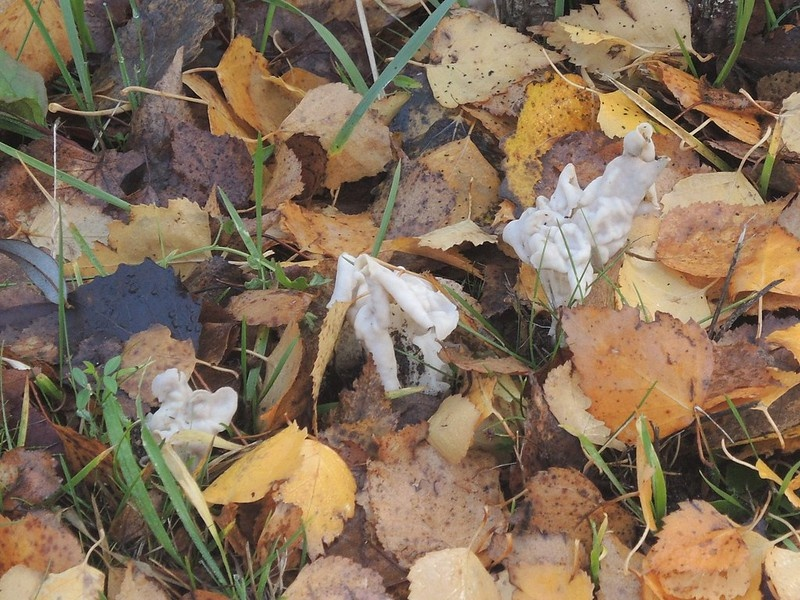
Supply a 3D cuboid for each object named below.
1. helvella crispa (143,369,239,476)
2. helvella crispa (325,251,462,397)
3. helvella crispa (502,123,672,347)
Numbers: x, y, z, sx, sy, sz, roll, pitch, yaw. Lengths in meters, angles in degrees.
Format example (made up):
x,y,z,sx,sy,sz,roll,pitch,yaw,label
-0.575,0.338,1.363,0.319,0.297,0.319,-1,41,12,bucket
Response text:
x,y,z,sx,sy,sz,roll,pitch,yaw,label
-0.479,0.269,1.945,0.189,0.176,0.183,6,55,15,helvella crispa
-0.009,0.035,2.064,0.250,0.330,0.285,-26,53,-9,helvella crispa
0.459,-0.154,2.183,0.299,0.158,0.480,27,91,20,helvella crispa
